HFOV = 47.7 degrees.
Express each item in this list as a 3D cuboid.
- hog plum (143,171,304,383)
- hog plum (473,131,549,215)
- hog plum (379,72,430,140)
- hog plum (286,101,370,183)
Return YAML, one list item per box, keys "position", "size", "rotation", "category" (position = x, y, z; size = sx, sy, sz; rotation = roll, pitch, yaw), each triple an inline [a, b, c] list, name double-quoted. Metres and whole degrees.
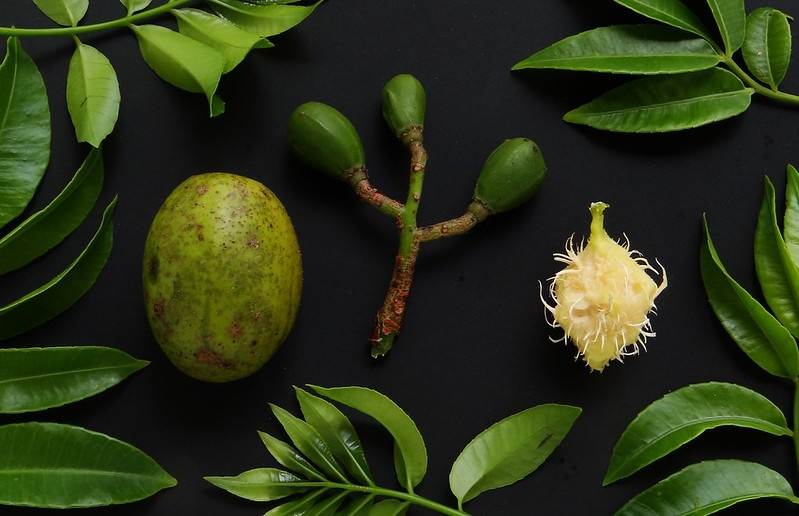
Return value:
- position: [-0.318, 0.003, 1.650]
  size: [0.252, 0.263, 0.350]
  rotation: [-9, 103, -31]
  category: "hog plum"
- position: [0.199, -0.160, 1.700]
  size: [0.140, 0.084, 0.105]
  rotation: [-38, 104, 1]
  category: "hog plum"
- position: [0.011, -0.283, 1.677]
  size: [0.090, 0.084, 0.137]
  rotation: [-7, 61, -9]
  category: "hog plum"
- position: [-0.134, -0.206, 1.680]
  size: [0.160, 0.099, 0.102]
  rotation: [34, 88, 2]
  category: "hog plum"
